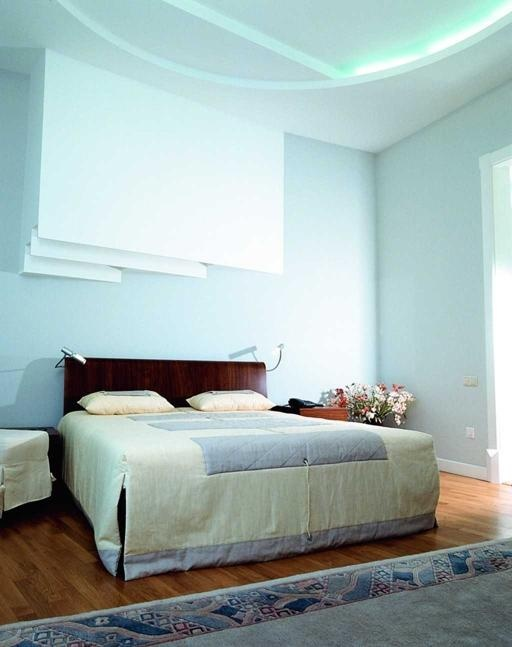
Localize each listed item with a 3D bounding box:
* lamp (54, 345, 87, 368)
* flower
[{"bbox_3d":[-1.429,0.252,3.727,0.231,0.152,0.089,3,40,14],"label":"lamp"},{"bbox_3d":[1.171,0.829,4.923,0.733,0.423,0.720,-7,-6,-8],"label":"flower"}]
